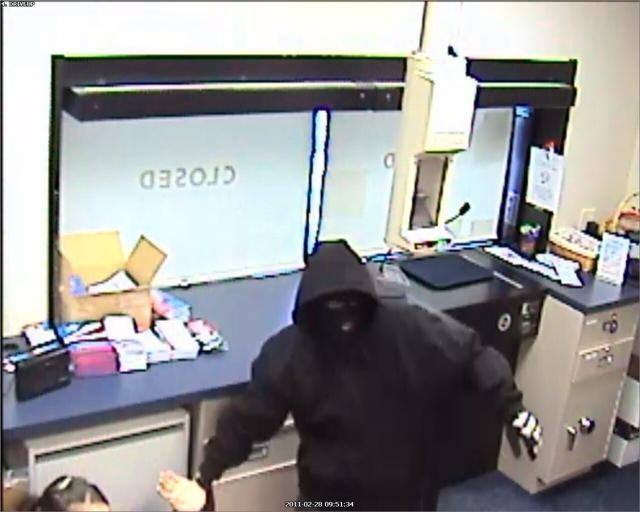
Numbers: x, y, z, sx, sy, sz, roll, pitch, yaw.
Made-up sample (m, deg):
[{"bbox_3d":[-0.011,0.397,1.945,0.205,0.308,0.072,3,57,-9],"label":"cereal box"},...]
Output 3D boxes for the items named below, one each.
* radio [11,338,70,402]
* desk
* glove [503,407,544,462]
[{"bbox_3d":[-0.625,0.267,1.136,0.118,0.094,0.045,-6,17,-19],"label":"radio"},{"bbox_3d":[-0.117,0.222,1.719,1.560,0.696,0.481,-7,20,-31],"label":"desk"},{"bbox_3d":[0.650,0.561,1.623,0.118,0.172,0.059,0,15,-10],"label":"glove"}]
